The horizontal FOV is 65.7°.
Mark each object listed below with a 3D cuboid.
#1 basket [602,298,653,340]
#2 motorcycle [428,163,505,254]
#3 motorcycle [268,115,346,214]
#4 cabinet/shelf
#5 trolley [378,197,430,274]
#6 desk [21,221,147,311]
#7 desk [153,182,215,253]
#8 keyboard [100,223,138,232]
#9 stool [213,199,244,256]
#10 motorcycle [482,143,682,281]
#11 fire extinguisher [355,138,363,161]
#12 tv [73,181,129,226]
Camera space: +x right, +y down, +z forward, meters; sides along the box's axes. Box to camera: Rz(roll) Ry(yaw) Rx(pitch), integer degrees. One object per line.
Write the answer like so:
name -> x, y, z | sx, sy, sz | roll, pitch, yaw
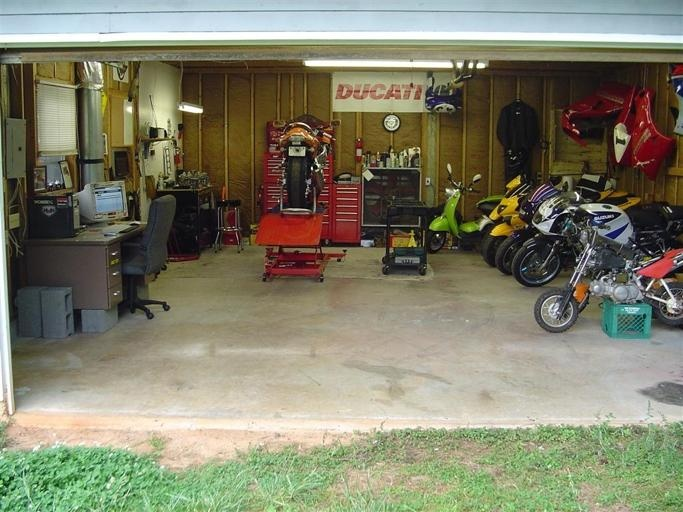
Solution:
basket -> 2.691, 0.589, 5.037 | 0.427, 0.274, 0.390 | 0, 4, 1
motorcycle -> 2.198, -0.765, 8.879 | 1.937, 1.207, 0.796 | -9, 18, -24
motorcycle -> -0.786, -1.422, 8.182 | 1.149, 1.210, 2.272 | 1, 10, 10
cabinet/shelf -> 0.902, -1.095, 9.408 | 1.348, 1.098, 0.477 | 0, 12, 0
trolley -> 1.008, -0.223, 7.882 | 0.861, 0.982, 0.853 | 1, 3, 3
desk -> -2.619, 0.128, 5.343 | 0.863, 0.718, 0.646 | 0, 11, -1
desk -> -2.373, -0.569, 7.936 | 0.480, 0.676, 1.159 | -1, 20, -2
keyboard -> -2.368, -0.309, 5.710 | 0.200, 0.056, 0.264 | 2, 8, 7
stool -> -2.040, -0.549, 9.519 | 0.650, 0.871, 0.604 | 0, 6, 5
motorcycle -> 3.072, -0.512, 6.892 | 2.495, 1.268, 1.159 | -5, 30, 0
fire extinguisher -> 0.325, -1.999, 9.926 | 0.141, 0.459, 0.208 | 0, 12, -1
tv -> -2.783, -0.631, 6.139 | 0.505, 0.542, 0.637 | 2, 9, 14
